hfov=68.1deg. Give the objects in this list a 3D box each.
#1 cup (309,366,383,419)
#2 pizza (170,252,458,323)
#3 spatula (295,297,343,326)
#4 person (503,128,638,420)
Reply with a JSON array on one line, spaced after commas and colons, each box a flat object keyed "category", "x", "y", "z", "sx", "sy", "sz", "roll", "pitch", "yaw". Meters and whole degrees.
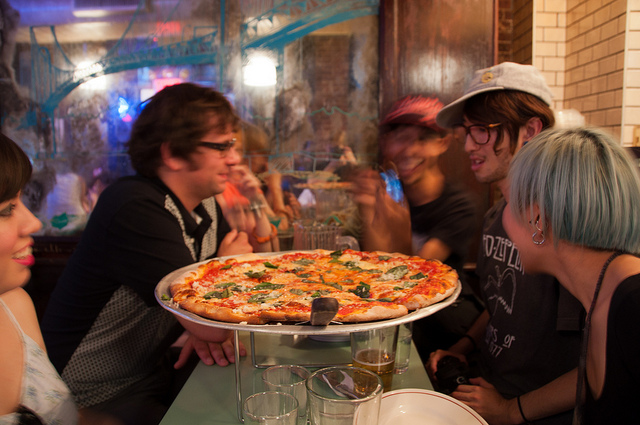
[{"category": "cup", "x": 0.094, "y": 0.710, "z": 1.822, "sx": 0.233, "sy": 0.164, "sz": 0.201, "roll": 6, "pitch": 11, "yaw": 40}, {"category": "pizza", "x": -0.030, "y": 0.347, "z": 2.518, "sx": 1.479, "sy": 0.105, "sz": 1.030, "roll": -2, "pitch": 8, "yaw": -10}, {"category": "spatula", "x": 0.014, "y": 0.395, "z": 1.997, "sx": 0.188, "sy": 0.098, "sz": 0.164, "roll": -1, "pitch": 8, "yaw": -35}, {"category": "person", "x": 1.057, "y": 0.257, "z": 1.982, "sx": 0.560, "sy": 1.204, "sz": 0.232, "roll": 6, "pitch": 12, "yaw": 39}]
